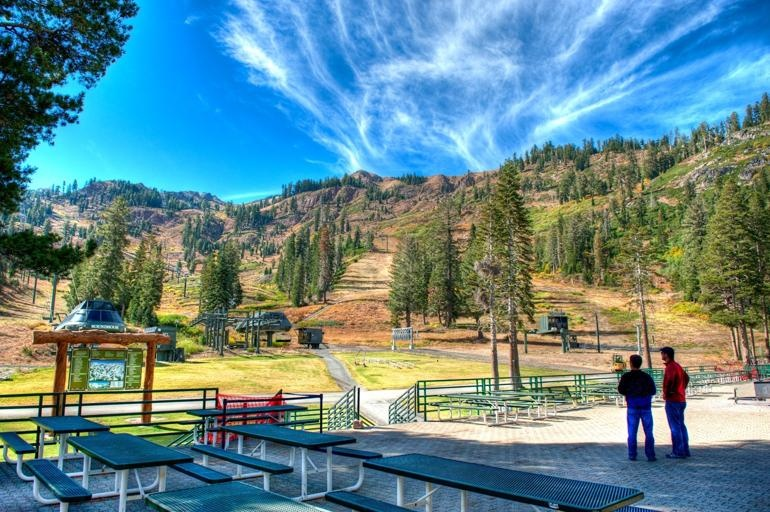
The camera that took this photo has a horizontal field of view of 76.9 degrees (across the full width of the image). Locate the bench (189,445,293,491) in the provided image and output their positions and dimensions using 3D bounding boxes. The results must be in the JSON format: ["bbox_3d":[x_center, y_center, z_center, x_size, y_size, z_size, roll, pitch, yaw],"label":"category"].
[{"bbox_3d":[-3.457,5.032,11.538,2.568,0.400,0.766,-6,-14,37],"label":"bench"}]

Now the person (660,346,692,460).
[{"bbox_3d":[8.267,4.049,13.690,0.692,2.971,1.585,-8,-13,28],"label":"person"}]

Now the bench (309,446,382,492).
[{"bbox_3d":[-0.986,5.275,11.991,1.971,0.730,0.834,-10,-24,32],"label":"bench"}]
